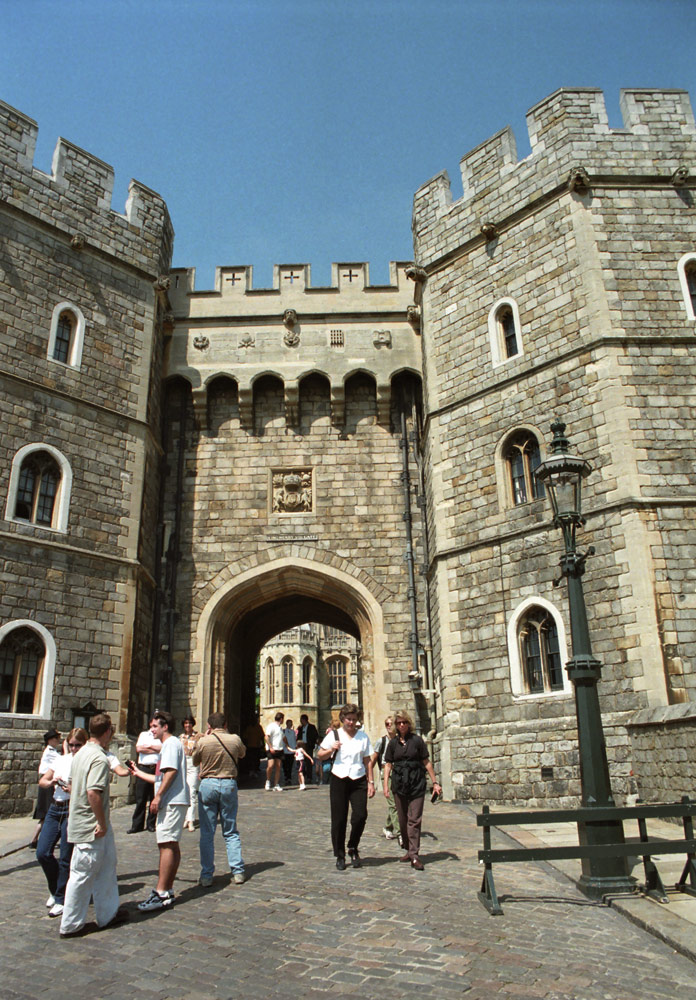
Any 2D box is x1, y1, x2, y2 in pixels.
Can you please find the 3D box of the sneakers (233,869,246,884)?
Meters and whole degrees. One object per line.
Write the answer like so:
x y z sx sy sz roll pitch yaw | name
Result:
-0.799 2.756 5.052 0.100 0.111 0.212 1 -15 -9 | sneakers

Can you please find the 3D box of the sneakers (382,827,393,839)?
0.422 3.681 7.573 0.063 0.120 0.189 2 -34 -6 | sneakers

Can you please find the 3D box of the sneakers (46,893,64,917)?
-1.827 2.551 4.338 0.087 0.108 0.252 4 -21 -9 | sneakers

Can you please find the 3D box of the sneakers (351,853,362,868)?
0.056 3.005 5.740 0.082 0.092 0.171 -2 -15 1 | sneakers

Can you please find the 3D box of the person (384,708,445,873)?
0.549 2.549 6.092 0.461 1.251 0.863 -2 -15 3 | person

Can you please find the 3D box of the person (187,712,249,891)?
-0.990 2.305 5.350 0.398 1.232 0.884 0 -15 -8 | person

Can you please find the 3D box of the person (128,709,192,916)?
-1.248 2.118 4.741 0.300 1.205 1.074 2 -15 -15 | person

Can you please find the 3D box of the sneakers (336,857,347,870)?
-0.060 2.981 5.625 0.038 0.086 0.121 4 -27 -7 | sneakers

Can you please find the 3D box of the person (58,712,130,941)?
-1.473 1.886 4.059 0.328 1.191 0.570 4 -15 -20 | person

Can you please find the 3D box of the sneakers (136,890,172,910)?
-1.201 2.486 4.297 0.260 0.132 0.098 5 -25 -20 | sneakers

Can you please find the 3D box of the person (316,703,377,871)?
-0.012 2.430 5.870 0.445 1.313 0.694 -2 -14 1 | person
